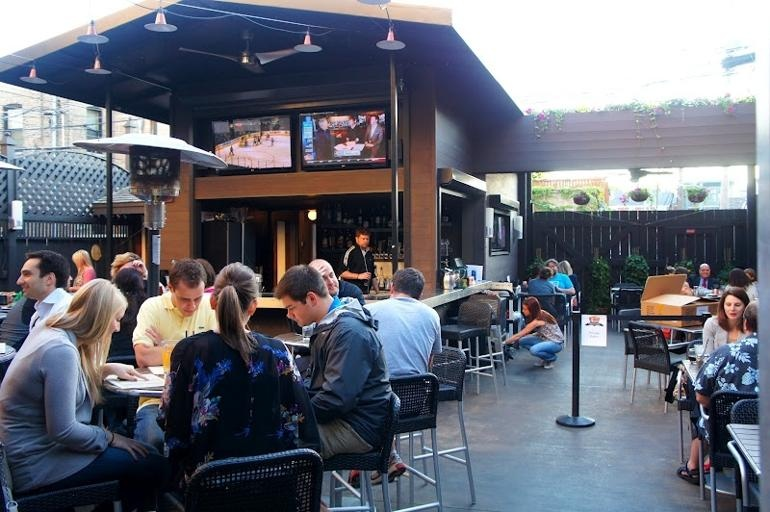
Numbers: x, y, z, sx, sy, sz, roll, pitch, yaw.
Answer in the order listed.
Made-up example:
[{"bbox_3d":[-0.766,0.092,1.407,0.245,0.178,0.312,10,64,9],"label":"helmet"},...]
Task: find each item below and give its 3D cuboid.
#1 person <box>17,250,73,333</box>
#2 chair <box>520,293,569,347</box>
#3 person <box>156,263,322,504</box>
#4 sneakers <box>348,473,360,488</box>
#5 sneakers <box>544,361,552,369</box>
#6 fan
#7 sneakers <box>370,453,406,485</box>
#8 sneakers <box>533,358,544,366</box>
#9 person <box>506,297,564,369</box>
[{"bbox_3d":[-3.082,0.317,5.911,0.495,0.735,0.451,1,1,-23],"label":"person"},{"bbox_3d":[2.475,0.964,10.137,0.798,0.780,0.572,0,4,23],"label":"chair"},{"bbox_3d":[-0.936,0.808,4.158,1.040,1.381,0.980,0,-8,-8],"label":"person"},{"bbox_3d":[-0.265,1.908,5.586,0.104,0.135,0.140,3,8,-4],"label":"sneakers"},{"bbox_3d":[2.493,1.638,9.881,0.135,0.093,0.178,0,0,10],"label":"sneakers"},{"bbox_3d":[-1.818,-2.767,8.990,0.957,0.349,0.987,3,4,42],"label":"fan"},{"bbox_3d":[-0.024,1.726,5.262,0.199,0.253,0.586,5,-22,-16],"label":"sneakers"},{"bbox_3d":[2.413,1.661,10.160,0.073,0.123,0.179,4,-2,-17],"label":"sneakers"},{"bbox_3d":[2.306,1.182,10.123,0.925,1.010,0.657,-1,1,30],"label":"person"}]
